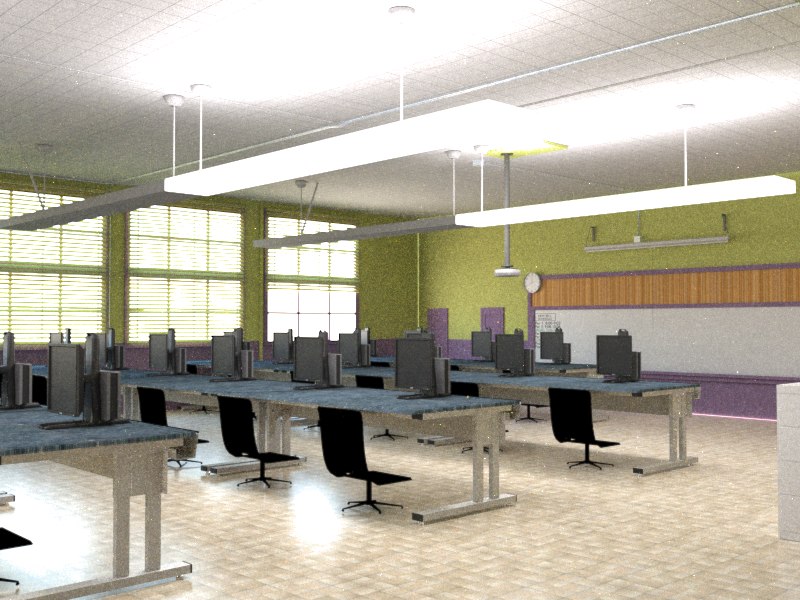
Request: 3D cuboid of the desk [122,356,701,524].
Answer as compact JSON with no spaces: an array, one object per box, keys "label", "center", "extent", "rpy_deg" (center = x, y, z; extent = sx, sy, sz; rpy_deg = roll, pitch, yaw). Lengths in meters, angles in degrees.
[{"label":"desk","center":[0.385,1.372,7.321],"extent":[6.090,1.016,3.237],"rpy_deg":[0,-1,-7]}]
